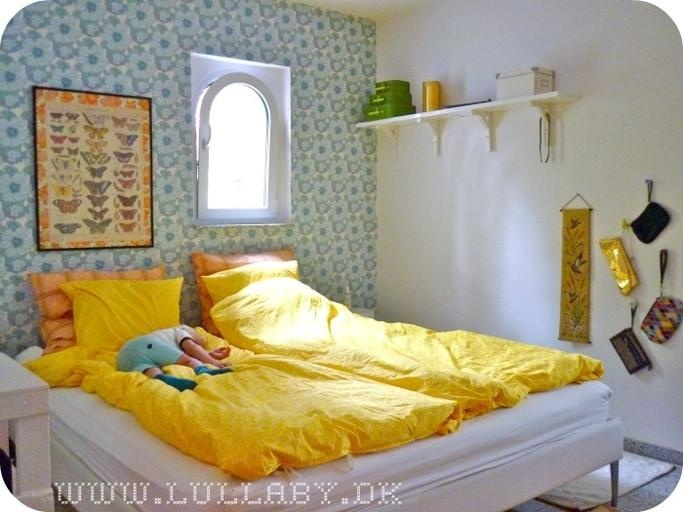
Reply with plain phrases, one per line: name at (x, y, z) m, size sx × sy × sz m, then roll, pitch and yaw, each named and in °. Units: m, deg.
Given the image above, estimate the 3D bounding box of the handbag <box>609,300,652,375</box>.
handbag at (1.859, 0.521, 3.424) m, size 0.108 × 0.409 × 0.220 m, roll -21°, pitch -16°, yaw -25°

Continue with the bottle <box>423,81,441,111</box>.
bottle at (0.727, -1.304, 4.326) m, size 0.165 × 0.252 × 0.153 m, roll -1°, pitch 5°, yaw 0°
